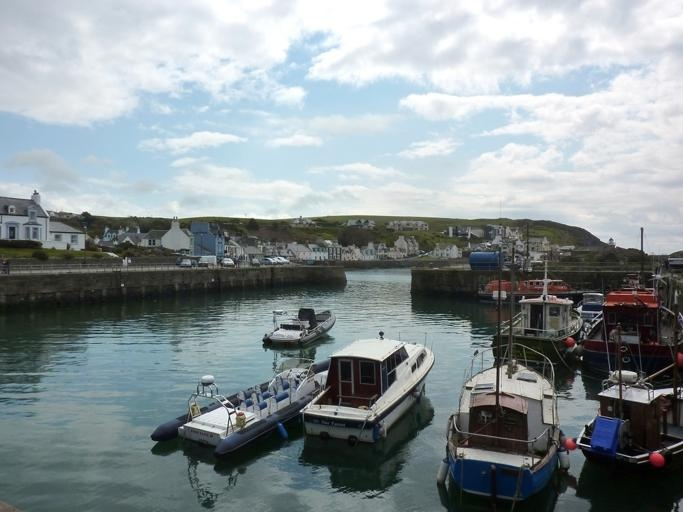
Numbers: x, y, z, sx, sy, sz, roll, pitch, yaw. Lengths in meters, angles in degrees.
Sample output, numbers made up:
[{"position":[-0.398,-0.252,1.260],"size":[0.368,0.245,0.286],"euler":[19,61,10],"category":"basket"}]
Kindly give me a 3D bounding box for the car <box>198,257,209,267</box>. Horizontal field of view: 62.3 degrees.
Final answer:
[{"position":[-18.995,0.723,77.947],"size":[1.459,1.060,2.201],"euler":[0,-5,-8],"category":"car"}]

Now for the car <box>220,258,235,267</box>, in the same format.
[{"position":[-16.924,1.148,83.444],"size":[1.384,0.905,2.910],"euler":[-1,12,-14],"category":"car"}]

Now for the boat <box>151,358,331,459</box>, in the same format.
[{"position":[-3.647,6.367,24.492],"size":[3.274,1.659,5.882],"euler":[4,11,30],"category":"boat"}]

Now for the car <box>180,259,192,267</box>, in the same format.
[{"position":[-20.307,0.892,73.996],"size":[1.270,0.808,1.940],"euler":[-1,0,-14],"category":"car"}]
